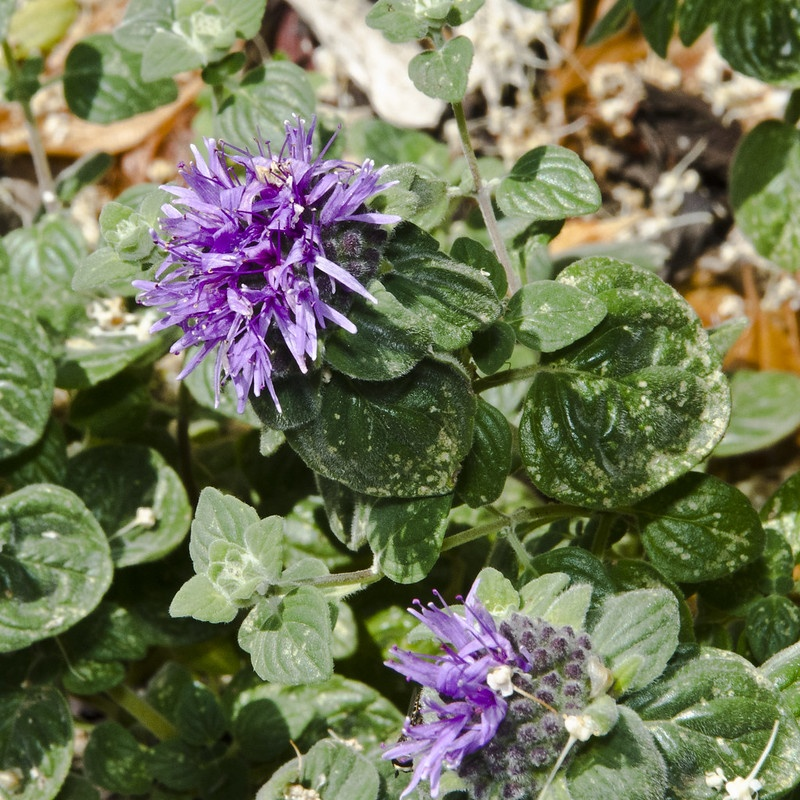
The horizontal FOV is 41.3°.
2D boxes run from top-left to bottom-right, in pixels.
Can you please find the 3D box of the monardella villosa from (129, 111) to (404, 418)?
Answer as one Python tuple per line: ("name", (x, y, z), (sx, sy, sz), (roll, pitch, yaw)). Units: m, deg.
("monardella villosa", (-0.208, -0.205, 1.474), (0.270, 0.304, 0.153), (-44, 83, -8))
